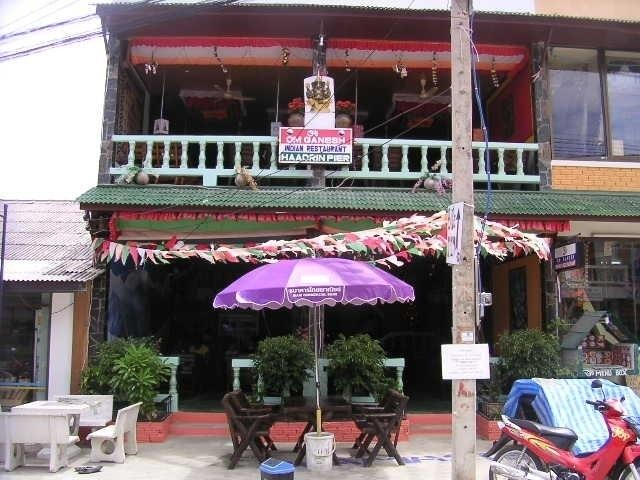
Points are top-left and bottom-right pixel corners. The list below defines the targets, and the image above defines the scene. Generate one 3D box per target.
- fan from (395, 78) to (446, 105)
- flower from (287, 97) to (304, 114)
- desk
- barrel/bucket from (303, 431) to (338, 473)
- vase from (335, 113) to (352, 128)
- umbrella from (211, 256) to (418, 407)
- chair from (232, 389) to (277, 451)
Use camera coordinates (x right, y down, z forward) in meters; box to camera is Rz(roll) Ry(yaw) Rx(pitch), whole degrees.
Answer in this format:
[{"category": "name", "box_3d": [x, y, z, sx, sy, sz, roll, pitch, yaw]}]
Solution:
[{"category": "fan", "box_3d": [2.359, -3.410, 17.691, 0.911, 0.560, 0.886, 0, 0, -5]}, {"category": "flower", "box_3d": [-0.606, -3.036, 16.185, 0.410, 0.282, 0.399, -5, -1, 19]}, {"category": "desk", "box_3d": [-0.082, 3.410, 13.229, 1.036, 0.896, 1.244, 0, -11, 1]}, {"category": "barrel/bucket", "box_3d": [0.021, 3.663, 12.552, 0.541, 0.497, 0.588, 0, -15, 0]}, {"category": "vase", "box_3d": [0.502, -2.650, 16.161, 0.349, 0.396, 0.441, -1, -5, 2]}, {"category": "umbrella", "box_3d": [0.064, 1.326, 12.876, 2.877, 2.206, 2.850, -5, -2, 20]}, {"category": "chair", "box_3d": [-1.339, 3.322, 13.613, 1.089, 1.302, 0.968, -1, -8, 0]}]
